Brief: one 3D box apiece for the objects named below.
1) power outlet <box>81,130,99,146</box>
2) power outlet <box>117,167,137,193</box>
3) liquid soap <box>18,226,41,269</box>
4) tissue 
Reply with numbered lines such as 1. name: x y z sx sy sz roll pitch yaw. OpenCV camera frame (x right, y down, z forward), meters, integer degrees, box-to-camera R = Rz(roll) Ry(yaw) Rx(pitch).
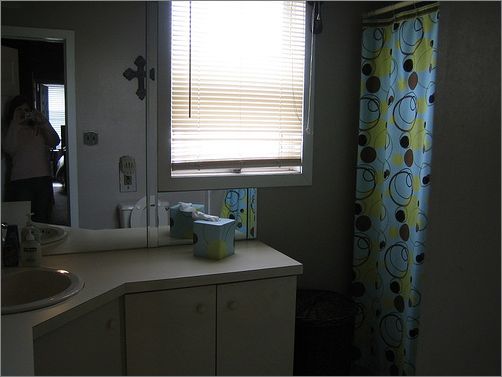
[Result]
1. power outlet: -0.844 -0.267 2.222 0.075 0.099 0.010 0 2 -20
2. power outlet: -0.673 -0.051 2.302 0.118 0.179 0.019 -3 9 -27
3. liquid soap: -1.058 0.278 2.037 0.076 0.189 0.072 0 1 -35
4. tissue : -0.199 0.235 2.278 0.188 0.210 0.193 8 11 44
